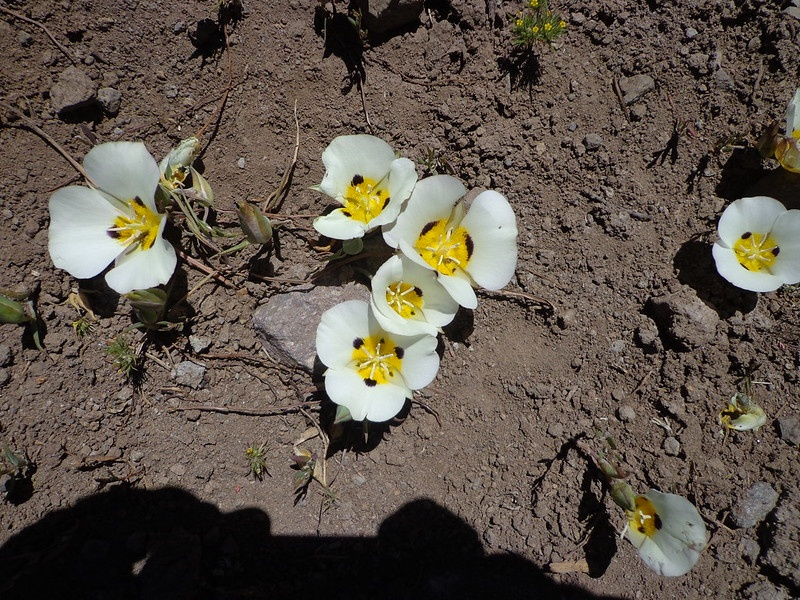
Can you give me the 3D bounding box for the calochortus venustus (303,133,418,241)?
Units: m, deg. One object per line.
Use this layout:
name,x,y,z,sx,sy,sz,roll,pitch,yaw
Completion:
calochortus venustus,-0.234,-0.631,3.470,0.521,0.640,0.251,-24,67,-25

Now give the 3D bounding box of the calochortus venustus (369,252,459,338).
calochortus venustus,0.057,-0.030,3.258,0.514,0.208,0.630,21,37,-16

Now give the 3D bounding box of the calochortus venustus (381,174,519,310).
calochortus venustus,0.240,-0.398,3.493,0.801,0.746,0.295,10,63,-13

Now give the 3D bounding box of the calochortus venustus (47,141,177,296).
calochortus venustus,-1.571,-0.409,3.217,0.691,0.236,0.780,-12,82,-4
